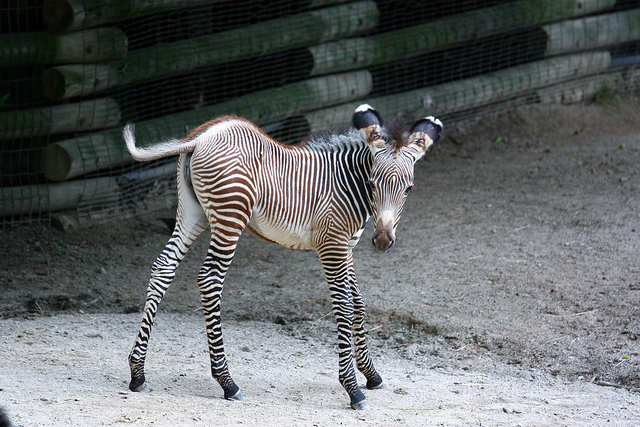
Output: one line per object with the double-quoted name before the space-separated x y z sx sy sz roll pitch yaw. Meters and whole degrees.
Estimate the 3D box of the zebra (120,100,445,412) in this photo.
"zebra" -0.631 0.445 12.087 4.287 3.672 1.775 5 2 7
